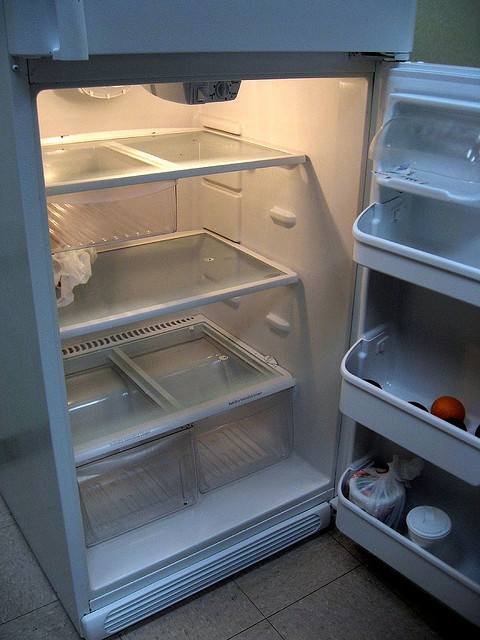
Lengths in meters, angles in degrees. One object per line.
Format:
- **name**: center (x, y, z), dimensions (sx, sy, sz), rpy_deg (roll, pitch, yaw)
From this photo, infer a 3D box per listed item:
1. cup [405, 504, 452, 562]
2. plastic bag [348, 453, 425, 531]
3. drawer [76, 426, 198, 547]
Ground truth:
- **cup**: center (0.411, 0.474, 1.035), dimensions (0.098, 0.113, 0.100), rpy_deg (-9, 15, 3)
- **plastic bag**: center (0.348, 0.411, 1.137), dimensions (0.171, 0.176, 0.128), rpy_deg (4, 22, 31)
- **drawer**: center (-0.284, 0.440, 1.303), dimensions (0.339, 0.252, 0.242), rpy_deg (-14, 23, -26)
